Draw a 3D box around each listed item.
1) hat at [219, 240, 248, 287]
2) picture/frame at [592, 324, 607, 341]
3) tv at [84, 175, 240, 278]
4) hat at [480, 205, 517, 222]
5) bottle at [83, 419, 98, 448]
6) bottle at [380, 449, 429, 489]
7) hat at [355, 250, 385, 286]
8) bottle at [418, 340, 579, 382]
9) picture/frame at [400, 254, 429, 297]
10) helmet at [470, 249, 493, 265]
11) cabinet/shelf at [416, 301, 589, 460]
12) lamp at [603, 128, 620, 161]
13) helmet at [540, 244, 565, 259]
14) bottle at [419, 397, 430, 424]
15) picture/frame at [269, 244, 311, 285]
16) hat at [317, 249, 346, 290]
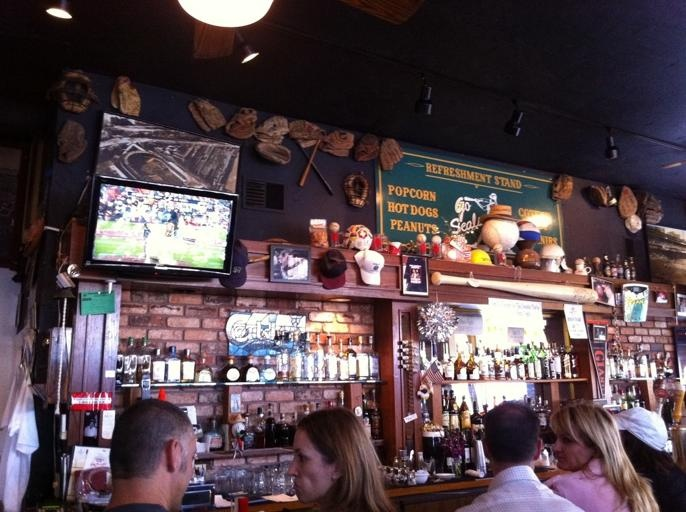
[{"bbox_3d":[-0.814,0.053,4.153,0.171,0.343,0.216,-5,1,23],"label":"hat"},{"bbox_3d":[2.790,0.834,5.805,0.164,0.152,0.086,5,-14,-19],"label":"picture/frame"},{"bbox_3d":[-1.304,-0.186,3.800,0.733,0.529,0.100,6,5,-21],"label":"tv"},{"bbox_3d":[1.645,-0.466,5.602,0.339,0.238,0.181,1,-15,-5],"label":"hat"},{"bbox_3d":[-1.746,1.225,3.692,0.102,0.178,0.074,8,-17,-28],"label":"bottle"},{"bbox_3d":[0.513,1.784,4.469,0.354,0.226,0.231,4,-12,-18],"label":"bottle"},{"bbox_3d":[0.272,0.071,4.673,0.235,0.359,0.179,10,-57,-1],"label":"hat"},{"bbox_3d":[1.717,1.088,5.520,1.742,0.412,0.275,6,-16,-24],"label":"bottle"},{"bbox_3d":[0.643,0.184,4.851,0.352,0.433,0.043,6,-15,-22],"label":"picture/frame"},{"bbox_3d":[1.372,0.010,5.278,0.188,0.104,0.144,11,6,7],"label":"helmet"},{"bbox_3d":[1.358,1.092,4.775,1.544,1.386,0.507,1,-3,-10],"label":"cabinet/shelf"},{"bbox_3d":[2.744,-1.119,5.453,0.109,0.350,0.510,-8,-17,27],"label":"lamp"},{"bbox_3d":[2.255,-0.055,5.723,0.295,0.198,0.134,3,-16,-14],"label":"helmet"},{"bbox_3d":[0.749,1.401,4.807,0.085,0.208,0.167,-3,-15,11],"label":"bottle"},{"bbox_3d":[-0.450,0.070,4.373,0.320,0.280,0.034,2,-4,-23],"label":"picture/frame"},{"bbox_3d":[-0.070,0.080,4.493,0.256,0.367,0.151,-3,-45,-12],"label":"hat"}]
